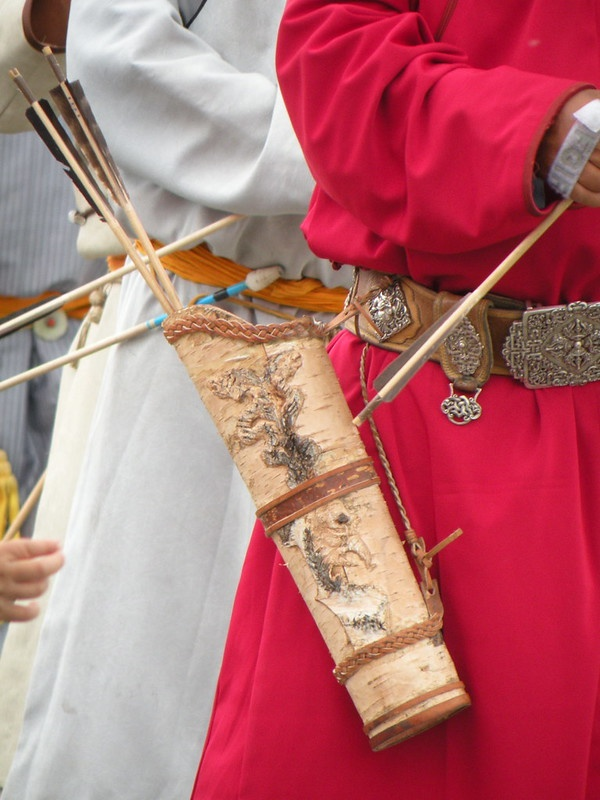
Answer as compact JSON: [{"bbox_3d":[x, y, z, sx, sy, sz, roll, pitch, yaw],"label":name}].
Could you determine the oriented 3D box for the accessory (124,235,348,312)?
[{"bbox_3d":[-0.088,-0.239,1.868,0.251,0.051,0.177,14,-3,1],"label":"accessory"}]
